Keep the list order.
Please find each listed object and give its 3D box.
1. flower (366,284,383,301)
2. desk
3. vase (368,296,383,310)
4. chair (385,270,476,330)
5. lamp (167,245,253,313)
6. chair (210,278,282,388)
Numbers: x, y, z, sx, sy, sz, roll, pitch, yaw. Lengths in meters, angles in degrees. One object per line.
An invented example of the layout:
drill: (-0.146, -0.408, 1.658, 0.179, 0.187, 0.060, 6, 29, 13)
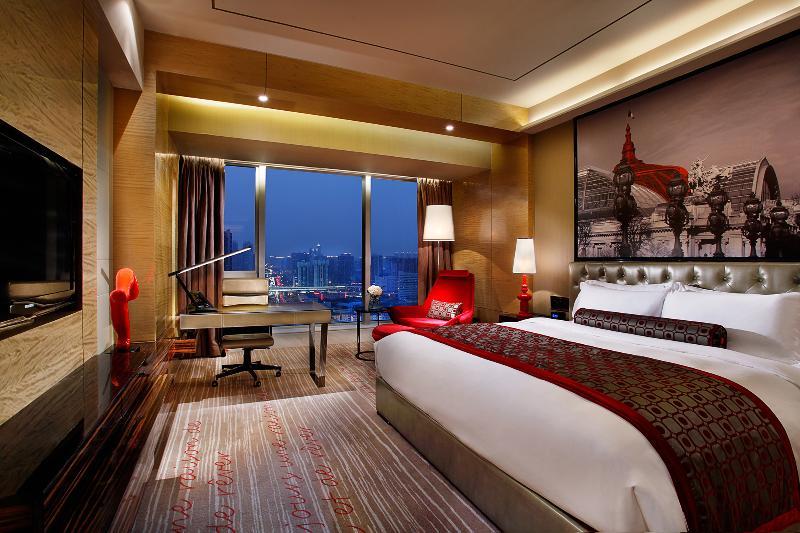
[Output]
flower: (-0.331, 0.326, 6.247, 0.204, 0.201, 0.202, 0, -2, -8)
desk: (-1.402, 0.759, 4.840, 1.307, 0.778, 0.736, 1, 5, -20)
vase: (-0.334, 0.471, 6.336, 0.141, 0.140, 0.259, -3, 7, -9)
chair: (0.483, 0.514, 5.995, 0.941, 0.904, 0.771, 4, 6, 38)
lamp: (-2.173, 0.140, 5.473, 0.707, 0.406, 0.225, -22, 10, -5)
chair: (-1.604, 0.632, 5.011, 0.661, 1.014, 0.643, -2, 5, -27)
